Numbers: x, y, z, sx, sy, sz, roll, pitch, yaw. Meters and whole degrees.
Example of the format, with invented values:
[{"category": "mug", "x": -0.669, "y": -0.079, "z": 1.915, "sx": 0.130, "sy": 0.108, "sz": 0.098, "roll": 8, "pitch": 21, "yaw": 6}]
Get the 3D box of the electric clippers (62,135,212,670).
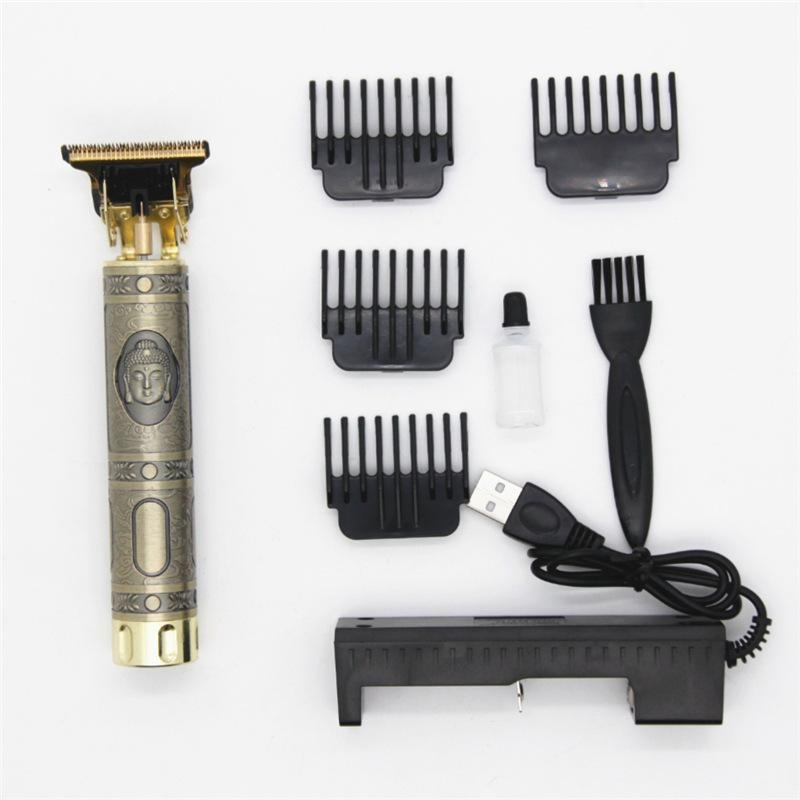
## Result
[{"category": "electric clippers", "x": -0.352, "y": 0.004, "z": 1.812, "sx": 0.187, "sy": 0.673, "sz": 0.169, "roll": 1, "pitch": -10, "yaw": -15}]
